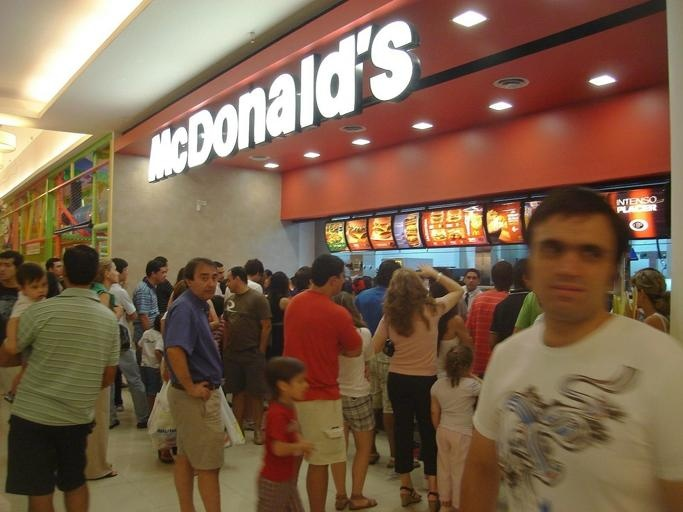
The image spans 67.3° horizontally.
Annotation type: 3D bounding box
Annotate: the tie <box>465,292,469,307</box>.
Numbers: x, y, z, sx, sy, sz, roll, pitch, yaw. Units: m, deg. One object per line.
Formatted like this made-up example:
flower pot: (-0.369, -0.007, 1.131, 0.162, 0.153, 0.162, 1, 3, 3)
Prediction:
tie: (1.520, 0.516, 6.204, 0.033, 0.139, 0.143, 7, 10, -3)

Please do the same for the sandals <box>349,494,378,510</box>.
sandals: (0.146, 1.768, 3.719, 0.173, 0.071, 0.091, 0, -3, -29)

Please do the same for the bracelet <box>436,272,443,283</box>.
bracelet: (0.742, 0.168, 3.901, 0.020, 0.081, 0.081, 14, 18, 4)

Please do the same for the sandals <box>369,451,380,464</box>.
sandals: (0.292, 1.812, 4.609, 0.048, 0.062, 0.144, 1, 2, 11)

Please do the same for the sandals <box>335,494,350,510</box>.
sandals: (-0.002, 1.773, 3.683, 0.052, 0.070, 0.161, 0, -1, 6)

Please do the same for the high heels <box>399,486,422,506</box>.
high heels: (0.511, 1.767, 3.834, 0.095, 0.134, 0.193, -2, -4, 31)
